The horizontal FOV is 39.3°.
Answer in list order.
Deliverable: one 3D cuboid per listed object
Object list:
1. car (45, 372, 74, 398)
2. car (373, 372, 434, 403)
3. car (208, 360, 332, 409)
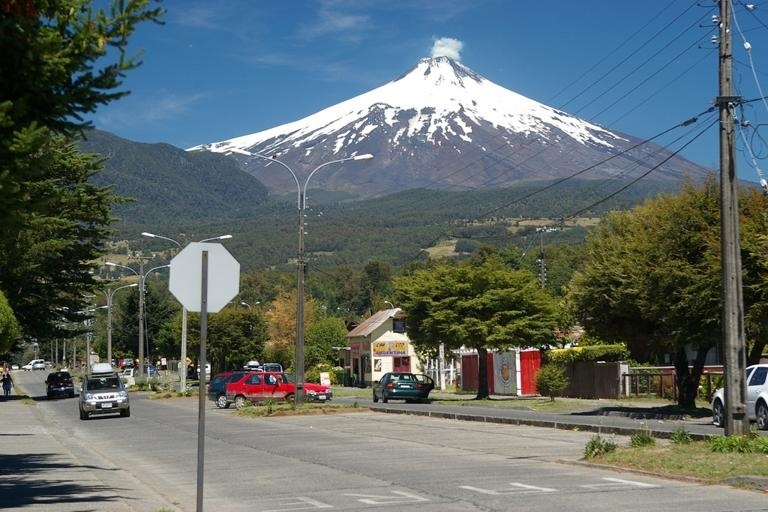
[{"bbox_3d":[-21.729,8.900,72.618,1.171,1.054,2.630,1,0,-12],"label":"car"},{"bbox_3d":[0.988,7.224,58.150,2.795,1.537,1.521,1,-9,-12],"label":"car"},{"bbox_3d":[-6.184,6.452,55.666,8.843,2.850,3.852,1,-11,-23],"label":"car"}]
